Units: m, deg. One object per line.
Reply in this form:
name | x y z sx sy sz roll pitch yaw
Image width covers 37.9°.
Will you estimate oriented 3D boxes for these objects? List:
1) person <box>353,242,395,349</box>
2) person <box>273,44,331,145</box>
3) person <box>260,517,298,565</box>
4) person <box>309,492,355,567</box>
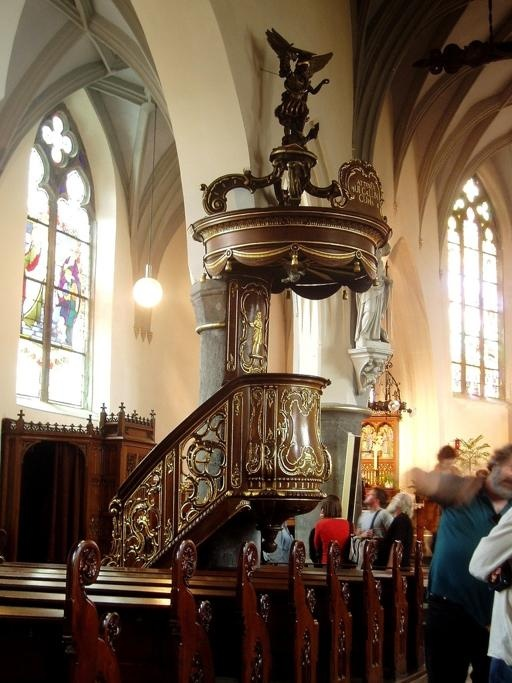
person | 1.752 -0.588 10.815 0.609 1.353 0.450 4 -10 -27
person | 0.365 -1.974 5.967 0.464 0.935 0.280 9 -9 -17
person | 0.208 2.025 7.530 0.290 0.437 0.824 0 -10 0
person | 0.675 1.963 6.850 0.327 1.126 0.332 0 -5 15
